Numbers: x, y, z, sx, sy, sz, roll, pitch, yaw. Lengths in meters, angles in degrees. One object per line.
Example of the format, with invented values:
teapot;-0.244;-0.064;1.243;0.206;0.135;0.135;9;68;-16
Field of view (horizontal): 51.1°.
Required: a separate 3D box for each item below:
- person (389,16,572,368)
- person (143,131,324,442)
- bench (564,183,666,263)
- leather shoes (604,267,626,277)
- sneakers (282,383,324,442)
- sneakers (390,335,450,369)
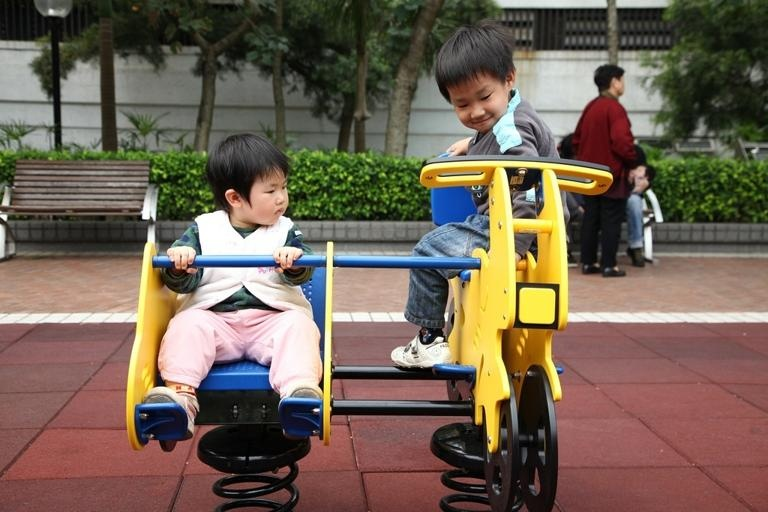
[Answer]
person;0.585;-0.384;5.315;1.057;2.316;0.646;0;7;3
person;-0.910;0.198;5.035;1.021;1.923;0.766;-1;7;-6
bench;3.144;-0.464;11.022;1.351;1.399;0.864;-3;13;0
leather shoes;2.832;0.202;9.831;0.245;0.106;0.114;-4;11;-15
sneakers;-0.477;0.930;4.868;0.258;0.250;0.362;-2;18;-5
sneakers;0.224;0.640;5.401;0.403;0.206;0.173;-1;2;41
